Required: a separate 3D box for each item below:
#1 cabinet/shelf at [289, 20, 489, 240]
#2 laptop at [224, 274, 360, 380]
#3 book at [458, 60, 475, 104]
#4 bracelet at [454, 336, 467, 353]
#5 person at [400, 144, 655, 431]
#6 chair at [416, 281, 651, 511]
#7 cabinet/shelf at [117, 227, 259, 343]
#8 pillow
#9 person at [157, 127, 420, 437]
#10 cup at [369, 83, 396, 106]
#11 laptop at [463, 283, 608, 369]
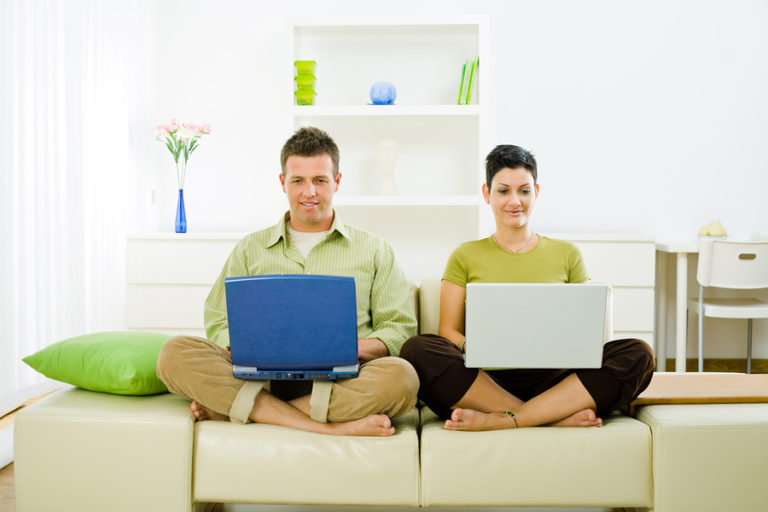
[{"bbox_3d":[0.053,-0.909,4.376,1.715,1.858,0.488,-1,0,0],"label":"cabinet/shelf"},{"bbox_3d":[-0.346,0.260,2.620,0.512,0.408,0.409,0,-3,4],"label":"laptop"},{"bbox_3d":[0.553,-1.157,4.431,0.115,0.295,0.103,2,5,5],"label":"book"},{"bbox_3d":[0.333,0.368,2.789,0.071,0.027,0.054,19,14,33],"label":"bracelet"},{"bbox_3d":[0.547,0.130,2.839,1.033,1.047,0.770,-2,9,-10],"label":"person"},{"bbox_3d":[0.583,0.581,2.582,0.949,0.562,0.953,0,-5,3],"label":"chair"},{"bbox_3d":[-1.191,0.145,4.415,1.090,0.839,0.584,0,-3,-1],"label":"cabinet/shelf"},{"bbox_3d":[-1.178,0.432,2.768,0.359,0.138,0.348,5,3,3],"label":"pillow"},{"bbox_3d":[-0.404,0.102,2.908,1.124,1.267,0.986,1,-3,-12],"label":"person"},{"bbox_3d":[-0.012,-1.095,4.508,0.179,0.145,0.172,-3,4,0],"label":"cup"},{"bbox_3d":[0.580,0.178,2.395,0.508,0.304,0.342,0,2,4],"label":"laptop"}]
